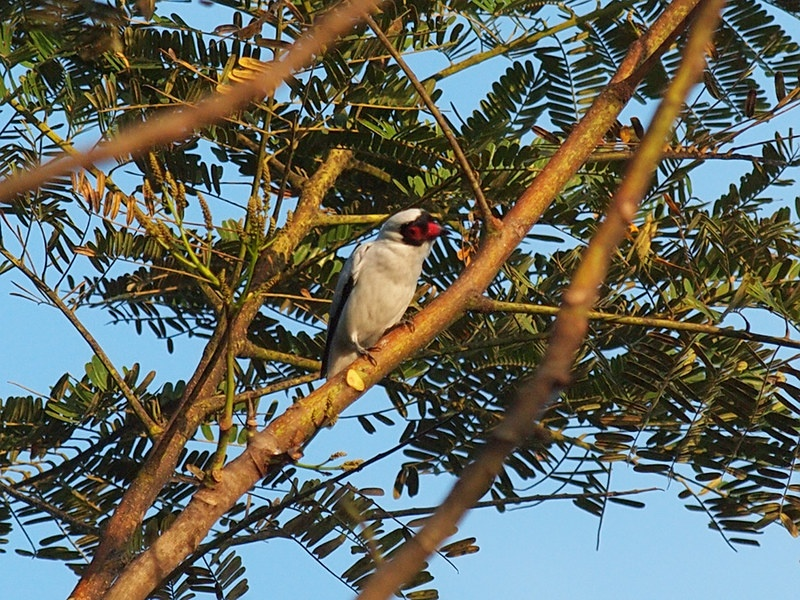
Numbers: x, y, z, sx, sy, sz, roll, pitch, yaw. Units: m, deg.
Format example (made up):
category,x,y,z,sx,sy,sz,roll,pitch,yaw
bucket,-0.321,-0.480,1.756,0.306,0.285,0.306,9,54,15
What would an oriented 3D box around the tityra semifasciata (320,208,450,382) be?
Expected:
category,x,y,z,sx,sy,sz,roll,pitch,yaw
tityra semifasciata,-0.178,-0.034,10.227,0.461,1.004,1.036,20,-19,-36
